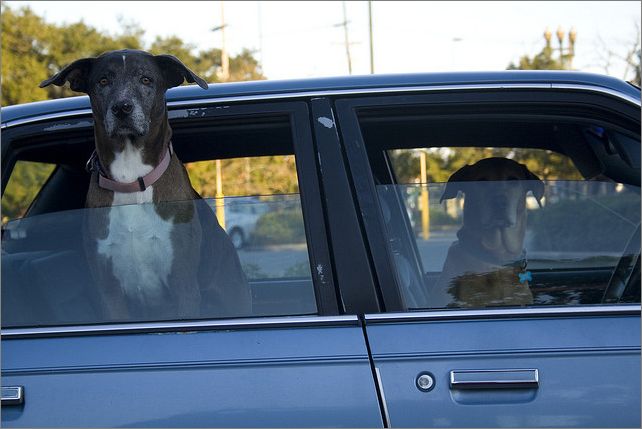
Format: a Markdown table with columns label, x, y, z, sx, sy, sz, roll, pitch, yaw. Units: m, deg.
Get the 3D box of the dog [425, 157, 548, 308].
| label | x | y | z | sx | sy | sz | roll | pitch | yaw |
| --- | --- | --- | --- | --- | --- | --- | --- | --- | --- |
| dog | 0.813 | 0.164 | 6.186 | 0.568 | 0.708 | 0.636 | 6 | -28 | -5 |
